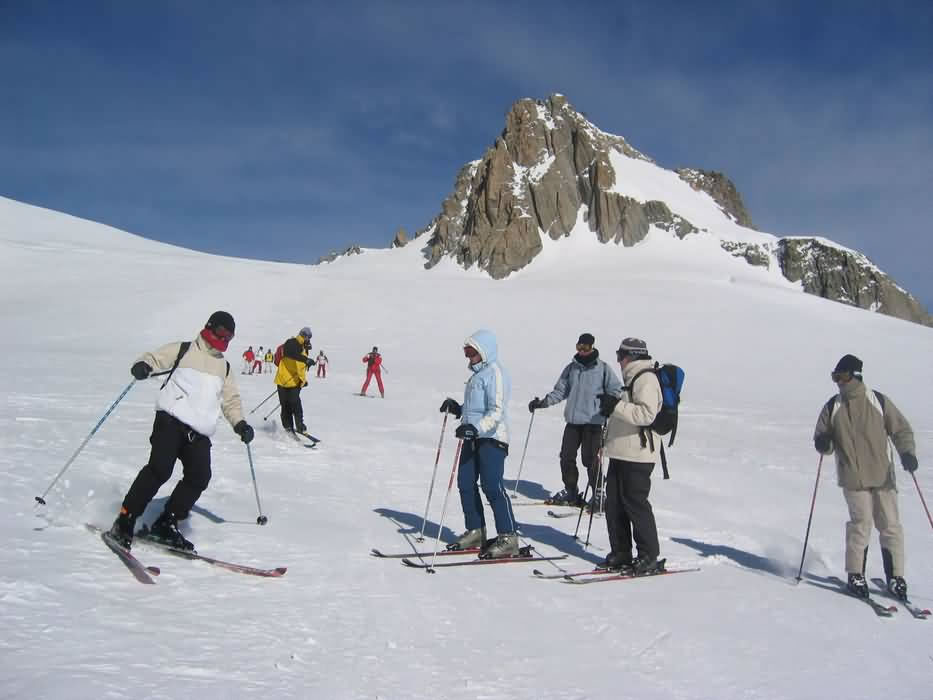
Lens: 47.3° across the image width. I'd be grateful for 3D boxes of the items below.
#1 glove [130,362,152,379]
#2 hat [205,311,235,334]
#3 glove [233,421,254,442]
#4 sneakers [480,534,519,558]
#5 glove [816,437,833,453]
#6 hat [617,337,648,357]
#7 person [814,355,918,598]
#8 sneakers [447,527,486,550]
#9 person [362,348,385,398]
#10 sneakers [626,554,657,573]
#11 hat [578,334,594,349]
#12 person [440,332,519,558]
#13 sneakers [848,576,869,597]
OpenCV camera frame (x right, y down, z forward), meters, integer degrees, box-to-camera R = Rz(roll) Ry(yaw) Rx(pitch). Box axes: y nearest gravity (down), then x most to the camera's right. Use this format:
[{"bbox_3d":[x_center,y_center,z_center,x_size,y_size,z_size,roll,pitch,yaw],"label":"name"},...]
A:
[{"bbox_3d":[-3.798,0.256,12.365,0.179,0.077,0.196,14,8,-2],"label":"glove"},{"bbox_3d":[-2.942,-0.315,12.715,0.306,0.282,0.246,0,-3,-6],"label":"hat"},{"bbox_3d":[-2.689,0.950,12.903,0.150,0.223,0.320,-33,29,-25],"label":"glove"},{"bbox_3d":[0.433,2.474,13.400,0.560,0.298,0.207,4,-3,-4],"label":"sneakers"},{"bbox_3d":[4.410,1.160,13.154,0.195,0.220,0.187,0,-2,-38],"label":"glove"},{"bbox_3d":[2.020,-0.032,13.193,0.200,0.150,0.296,4,-2,-17],"label":"hat"},{"bbox_3d":[4.835,1.537,12.863,1.214,2.824,0.715,7,11,23],"label":"person"},{"bbox_3d":[-0.054,2.431,13.679,0.603,0.293,0.218,-1,-3,-2],"label":"sneakers"},{"bbox_3d":[-2.345,0.533,26.700,0.494,1.404,0.411,1,20,-3],"label":"person"},{"bbox_3d":[2.160,2.646,13.082,0.420,0.210,0.166,1,-10,-13],"label":"sneakers"},{"bbox_3d":[1.755,-0.135,15.664,0.232,0.198,0.187,31,12,31],"label":"hat"},{"bbox_3d":[0.284,1.192,13.371,0.888,2.783,0.736,2,10,-3],"label":"person"},{"bbox_3d":[4.742,2.887,12.866,0.120,0.290,0.394,-11,-31,10],"label":"sneakers"}]
